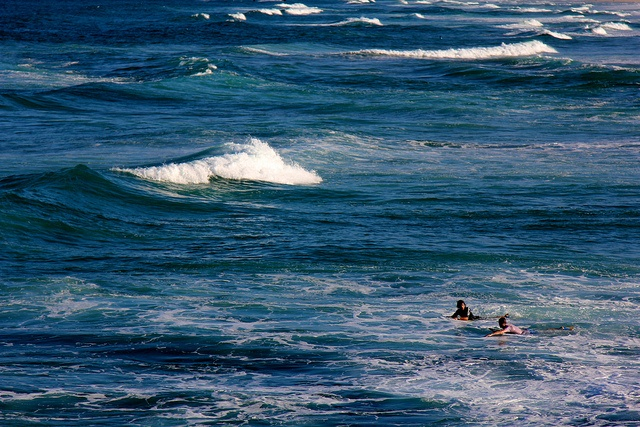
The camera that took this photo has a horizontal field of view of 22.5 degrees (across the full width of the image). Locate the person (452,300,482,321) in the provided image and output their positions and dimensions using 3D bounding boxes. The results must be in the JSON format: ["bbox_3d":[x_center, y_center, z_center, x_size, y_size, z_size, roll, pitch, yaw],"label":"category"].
[{"bbox_3d":[6.353,4.239,70.163,0.961,0.836,0.773,11,35,34],"label":"person"}]

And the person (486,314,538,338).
[{"bbox_3d":[8.363,4.864,69.652,1.631,0.364,1.305,10,13,22],"label":"person"}]
